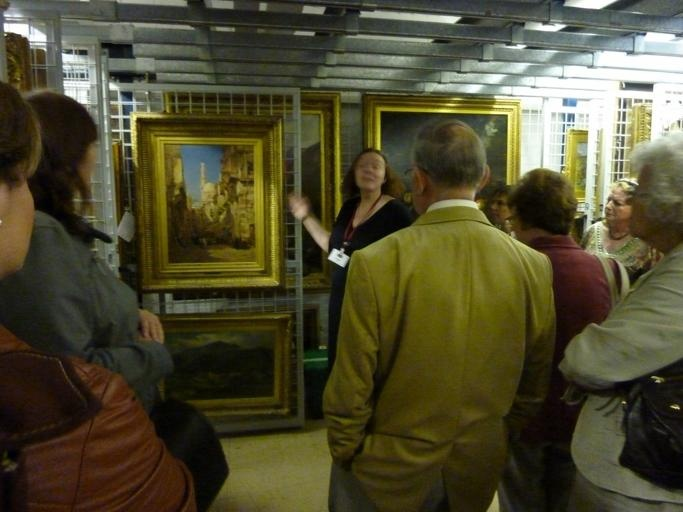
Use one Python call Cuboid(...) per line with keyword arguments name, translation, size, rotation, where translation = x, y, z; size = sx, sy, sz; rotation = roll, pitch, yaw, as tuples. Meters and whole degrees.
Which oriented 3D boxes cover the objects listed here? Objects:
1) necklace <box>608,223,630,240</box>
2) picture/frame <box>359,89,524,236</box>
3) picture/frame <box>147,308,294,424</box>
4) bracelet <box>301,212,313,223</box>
Cuboid(name="necklace", translation=(1.922, -0.173, 4.262), size=(0.104, 0.096, 0.103), rotation=(-3, 11, 30))
Cuboid(name="picture/frame", translation=(1.158, -1.134, 6.818), size=(1.960, 1.195, 0.074), rotation=(-2, 2, -19))
Cuboid(name="picture/frame", translation=(-0.933, 0.817, 4.746), size=(1.329, 0.840, 0.094), rotation=(0, 1, -8))
Cuboid(name="bracelet", translation=(-0.288, -0.332, 5.274), size=(0.083, 0.088, 0.085), rotation=(20, -34, -3))
